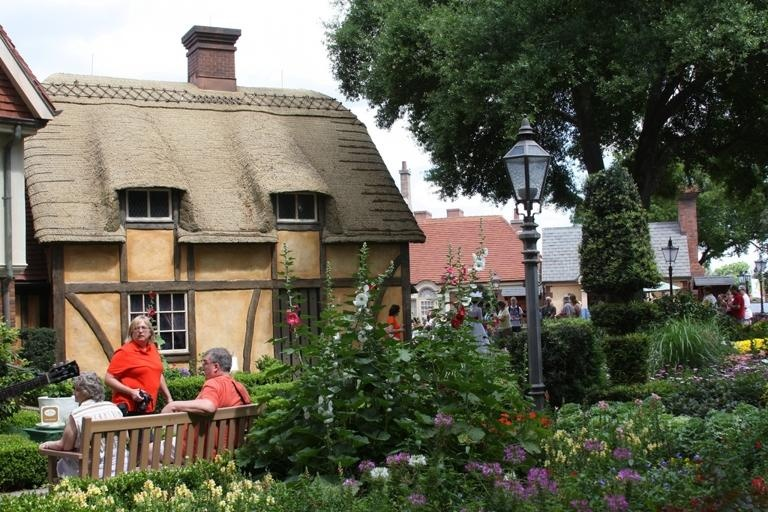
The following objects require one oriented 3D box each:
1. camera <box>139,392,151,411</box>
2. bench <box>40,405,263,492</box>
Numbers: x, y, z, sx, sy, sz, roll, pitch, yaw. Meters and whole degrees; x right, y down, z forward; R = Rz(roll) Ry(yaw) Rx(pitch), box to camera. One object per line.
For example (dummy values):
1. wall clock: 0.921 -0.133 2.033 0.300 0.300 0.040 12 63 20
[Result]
1. camera: -4.059 2.472 19.758 0.149 0.366 0.163 0 20 -10
2. bench: -3.965 3.211 18.539 1.058 1.319 2.866 -10 -7 35
